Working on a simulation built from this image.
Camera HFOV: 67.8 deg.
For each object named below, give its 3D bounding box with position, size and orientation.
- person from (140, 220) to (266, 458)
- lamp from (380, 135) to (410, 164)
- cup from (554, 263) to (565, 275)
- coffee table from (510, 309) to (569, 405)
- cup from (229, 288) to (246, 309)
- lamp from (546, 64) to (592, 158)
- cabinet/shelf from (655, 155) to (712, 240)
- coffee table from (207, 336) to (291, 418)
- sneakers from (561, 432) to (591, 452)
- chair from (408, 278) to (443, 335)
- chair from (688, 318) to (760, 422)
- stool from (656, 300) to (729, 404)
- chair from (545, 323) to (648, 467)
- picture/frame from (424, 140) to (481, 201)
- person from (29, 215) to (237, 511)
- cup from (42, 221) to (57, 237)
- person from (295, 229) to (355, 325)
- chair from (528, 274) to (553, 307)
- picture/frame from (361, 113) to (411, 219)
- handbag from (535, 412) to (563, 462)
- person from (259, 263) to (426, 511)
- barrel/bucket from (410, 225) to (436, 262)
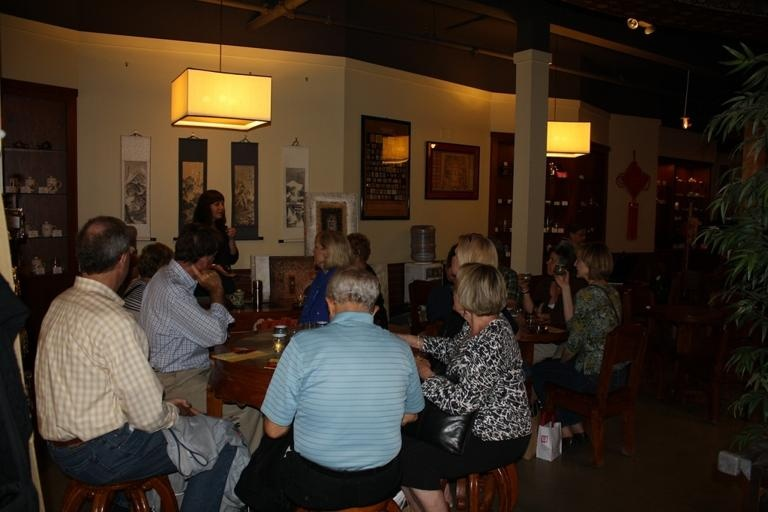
[{"bbox_3d":[-1.495,0.803,4.980,1.147,2.171,0.876,-9,23,-37],"label":"person"},{"bbox_3d":[0.189,-1.843,9.952,0.502,0.510,0.290,-1,9,-17],"label":"lamp"},{"bbox_3d":[1.758,0.139,5.650,0.093,0.096,0.097,2,4,0],"label":"cup"},{"bbox_3d":[1.368,0.967,5.611,0.740,0.841,0.748,0,3,-3],"label":"coffee table"},{"bbox_3d":[-1.638,0.474,6.294,0.249,0.257,0.156,0,-1,15],"label":"cup"},{"bbox_3d":[2.961,-2.205,9.181,0.869,0.828,0.893,15,36,33],"label":"lamp"},{"bbox_3d":[7.563,-1.226,14.228,1.070,2.086,0.508,4,-1,4],"label":"cabinet/shelf"},{"bbox_3d":[-1.035,0.857,4.338,0.545,0.394,0.740,9,9,20],"label":"coffee table"},{"bbox_3d":[1.908,1.838,5.730,0.126,0.157,0.385,-1,4,-14],"label":"sneakers"},{"bbox_3d":[0.639,0.672,7.262,0.418,0.742,0.415,-15,-5,14],"label":"chair"},{"bbox_3d":[3.847,1.211,6.562,0.549,1.148,1.374,1,4,32],"label":"chair"},{"bbox_3d":[3.811,1.276,7.163,0.997,1.255,1.018,5,8,42],"label":"stool"},{"bbox_3d":[2.063,1.262,5.468,0.626,1.317,0.764,-4,5,-41],"label":"chair"},{"bbox_3d":[1.257,-1.601,10.744,1.144,1.006,0.090,-2,3,-38],"label":"picture/frame"},{"bbox_3d":[-1.783,0.609,3.626,0.863,1.707,0.367,0,4,13],"label":"person"},{"bbox_3d":[-4.499,-0.345,7.655,0.201,0.210,0.129,3,-3,-39],"label":"cup"},{"bbox_3d":[-0.503,0.260,5.409,0.412,1.014,0.421,11,22,14],"label":"person"},{"bbox_3d":[1.971,0.432,7.197,0.351,0.398,0.361,4,-6,-22],"label":"chair"},{"bbox_3d":[0.056,-1.429,9.896,1.031,1.690,0.054,-8,16,-30],"label":"picture/frame"},{"bbox_3d":[1.566,1.702,5.460,0.252,0.338,0.237,-2,11,-5],"label":"handbag"},{"bbox_3d":[-0.236,0.800,3.438,0.929,1.445,0.371,-1,4,1],"label":"person"},{"bbox_3d":[0.737,-0.194,10.413,0.427,0.715,0.476,2,7,5],"label":"barrel/bucket"}]
